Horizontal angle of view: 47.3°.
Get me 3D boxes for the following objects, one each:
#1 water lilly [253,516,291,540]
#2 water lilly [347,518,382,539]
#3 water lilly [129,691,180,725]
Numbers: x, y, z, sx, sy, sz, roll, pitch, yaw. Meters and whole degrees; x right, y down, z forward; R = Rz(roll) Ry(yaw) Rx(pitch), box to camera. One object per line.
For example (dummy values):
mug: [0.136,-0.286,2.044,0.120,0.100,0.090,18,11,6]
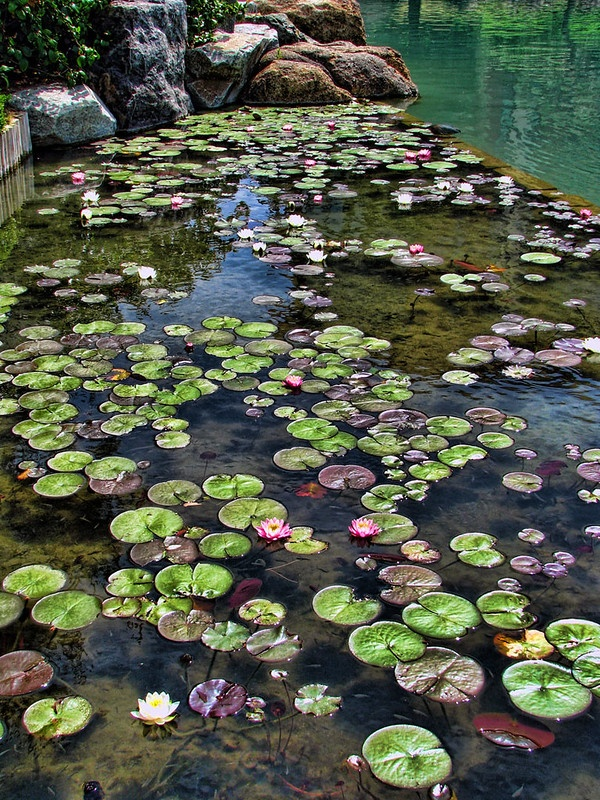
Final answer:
water lilly: [-0.073,0.354,1.874,0.099,0.065,0.083,-3,14,-3]
water lilly: [0.178,0.349,1.874,0.085,0.065,0.086,-3,14,-2]
water lilly: [-0.288,0.620,1.373,0.090,0.030,0.082,2,20,-6]
